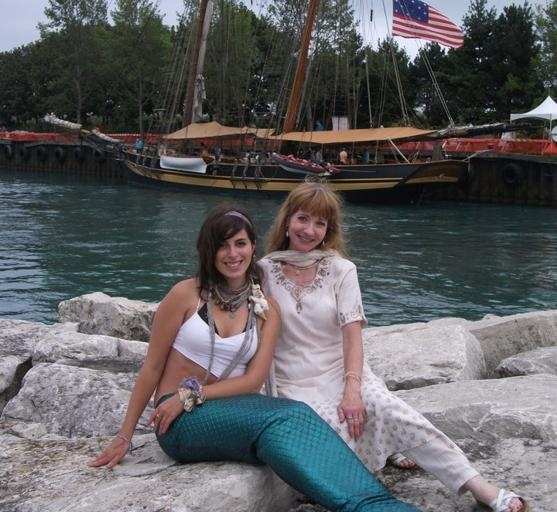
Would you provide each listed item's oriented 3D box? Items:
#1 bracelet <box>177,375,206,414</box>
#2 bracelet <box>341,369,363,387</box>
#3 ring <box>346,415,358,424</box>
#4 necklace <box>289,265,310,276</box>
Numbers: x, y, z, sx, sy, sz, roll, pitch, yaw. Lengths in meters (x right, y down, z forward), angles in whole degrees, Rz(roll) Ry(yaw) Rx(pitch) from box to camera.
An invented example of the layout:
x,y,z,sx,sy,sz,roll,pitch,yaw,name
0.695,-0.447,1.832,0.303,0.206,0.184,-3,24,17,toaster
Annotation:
x,y,z,sx,sy,sz,roll,pitch,yaw,name
-0.407,0.651,2.908,0.099,0.113,0.137,-10,22,4,bracelet
0.360,0.604,3.094,0.064,0.034,0.072,20,0,-32,bracelet
0.352,0.779,2.979,0.053,0.020,0.063,2,-4,0,ring
0.103,0.082,3.422,0.085,0.033,0.056,5,-4,2,necklace
